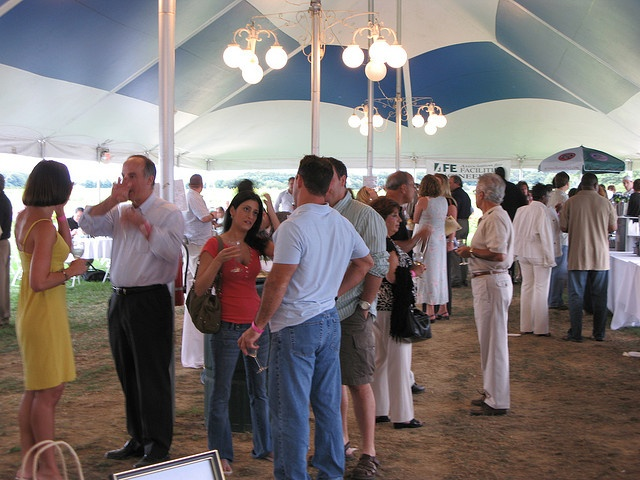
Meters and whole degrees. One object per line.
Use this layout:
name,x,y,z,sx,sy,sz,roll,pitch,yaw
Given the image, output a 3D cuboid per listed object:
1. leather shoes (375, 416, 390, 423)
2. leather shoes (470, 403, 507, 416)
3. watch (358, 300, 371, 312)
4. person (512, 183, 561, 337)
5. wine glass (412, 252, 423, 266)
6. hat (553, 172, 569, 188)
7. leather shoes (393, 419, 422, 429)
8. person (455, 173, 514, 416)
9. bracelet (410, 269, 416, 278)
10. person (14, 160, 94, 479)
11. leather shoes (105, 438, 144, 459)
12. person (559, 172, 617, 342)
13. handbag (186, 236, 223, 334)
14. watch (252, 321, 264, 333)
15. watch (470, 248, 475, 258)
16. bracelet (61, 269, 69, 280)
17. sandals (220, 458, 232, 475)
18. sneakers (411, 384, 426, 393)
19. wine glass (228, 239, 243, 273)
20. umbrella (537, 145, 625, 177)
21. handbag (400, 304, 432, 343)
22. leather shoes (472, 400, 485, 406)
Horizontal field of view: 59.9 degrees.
leather shoes,0.639,1.814,5.622,0.166,0.067,0.052,0,1,-4
leather shoes,1.764,1.787,5.881,0.401,0.161,0.139,3,-5,3
watch,0.380,0.549,4.652,0.099,0.063,0.102,21,3,32
person,3.269,0.443,8.504,0.657,2.039,0.370,6,10,33
wine glass,1.111,0.211,6.251,0.172,0.185,0.173,0,-4,0
hat,4.225,-1.027,9.702,0.254,0.297,0.307,4,-14,18
leather shoes,0.887,1.837,5.585,0.275,0.115,0.106,-3,3,-9
person,1.782,0.557,5.891,0.601,2.493,0.579,1,8,3
bracelet,0.914,0.325,5.404,0.061,0.075,0.068,-5,-12,9
person,-2.172,0.697,4.447,0.586,2.639,0.735,-3,9,-23
leather shoes,-1.694,1.848,4.933,0.399,0.159,0.137,3,-2,-7
person,3.949,0.253,8.201,0.769,2.463,0.479,2,9,13
handbag,-0.955,0.413,4.582,0.304,0.762,0.231,-1,9,-12
watch,-0.462,0.639,4.057,0.082,0.102,0.110,0,8,-5
watch,1.614,0.140,5.863,0.054,0.072,0.072,-4,-12,17
bracelet,-1.994,0.271,4.362,0.022,0.070,0.058,-29,-5,-18
sandals,-0.779,1.887,4.623,0.104,0.117,0.299,1,-15,-11
sneakers,1.155,1.708,6.441,0.078,0.070,0.174,2,4,33
wine glass,-0.686,0.139,4.579,0.176,0.231,0.086,-1,5,-33
umbrella,6.416,-1.907,13.593,1.806,0.622,1.781,7,1,17
handbag,0.922,0.805,5.260,0.295,0.385,0.213,0,8,-3
leather shoes,1.701,1.746,5.973,0.117,0.046,0.050,6,-1,15
